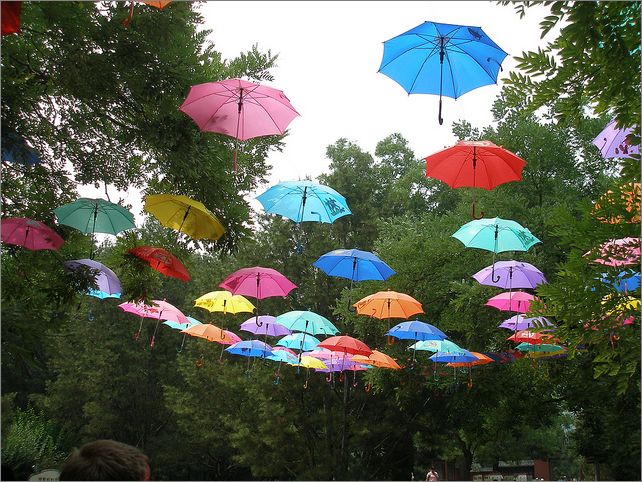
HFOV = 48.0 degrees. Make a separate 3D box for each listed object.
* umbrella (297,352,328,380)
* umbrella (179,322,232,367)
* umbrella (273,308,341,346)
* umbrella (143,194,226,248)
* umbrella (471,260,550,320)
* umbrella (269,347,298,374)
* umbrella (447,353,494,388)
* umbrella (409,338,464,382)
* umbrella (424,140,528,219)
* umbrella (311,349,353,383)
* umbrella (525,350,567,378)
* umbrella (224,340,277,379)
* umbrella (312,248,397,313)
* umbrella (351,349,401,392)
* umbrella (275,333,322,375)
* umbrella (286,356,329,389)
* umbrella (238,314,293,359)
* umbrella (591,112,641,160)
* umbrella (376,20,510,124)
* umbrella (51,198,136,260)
[{"bbox_3d":[-0.313,3.631,21.271,0.545,0.493,0.578,2,-20,30],"label":"umbrella"},{"bbox_3d":[-3.226,2.915,20.647,0.948,0.770,0.965,5,-18,11],"label":"umbrella"},{"bbox_3d":[-0.398,2.595,21.924,1.614,0.592,1.666,23,-31,-9],"label":"umbrella"},{"bbox_3d":[-2.763,-0.573,14.458,1.606,0.656,0.906,12,-27,-12],"label":"umbrella"},{"bbox_3d":[4.758,0.953,18.781,1.752,1.228,1.651,30,-34,-29],"label":"umbrella"},{"bbox_3d":[-1.082,3.571,21.863,0.623,0.481,0.637,8,-11,19],"label":"umbrella"},{"bbox_3d":[4.446,3.546,20.971,1.249,0.985,1.254,7,-12,-34],"label":"umbrella"},{"bbox_3d":[3.492,3.630,22.031,1.533,1.196,1.607,1,-7,24],"label":"umbrella"},{"bbox_3d":[3.279,-1.632,15.563,2.009,0.883,1.000,-2,-27,15],"label":"umbrella"},{"bbox_3d":[0.331,3.514,21.420,0.994,0.743,1.022,18,-36,-20],"label":"umbrella"},{"bbox_3d":[6.731,3.616,21.626,1.034,0.987,1.091,3,-28,-1],"label":"umbrella"},{"bbox_3d":[-2.138,3.310,21.525,1.179,0.943,1.244,-10,-26,36],"label":"umbrella"},{"bbox_3d":[0.829,0.697,19.108,1.744,1.240,1.698,18,-32,-10],"label":"umbrella"},{"bbox_3d":[1.473,3.540,19.901,0.871,0.696,0.889,13,-17,-5],"label":"umbrella"},{"bbox_3d":[-0.666,3.071,20.915,0.963,0.946,1.015,10,-37,-12],"label":"umbrella"},{"bbox_3d":[-0.442,3.636,21.679,1.205,1.090,1.276,2,-16,13],"label":"umbrella"},{"bbox_3d":[-1.694,2.546,21.078,1.110,0.547,1.161,9,-29,-9],"label":"umbrella"},{"bbox_3d":[5.111,-1.718,12.432,0.997,1.087,0.335,3,5,-21],"label":"umbrella"},{"bbox_3d":[2.330,-3.431,14.066,2.262,1.034,1.164,-1,-27,14],"label":"umbrella"},{"bbox_3d":[-4.958,-0.500,15.915,1.278,1.141,1.359,-3,-35,-1],"label":"umbrella"}]
